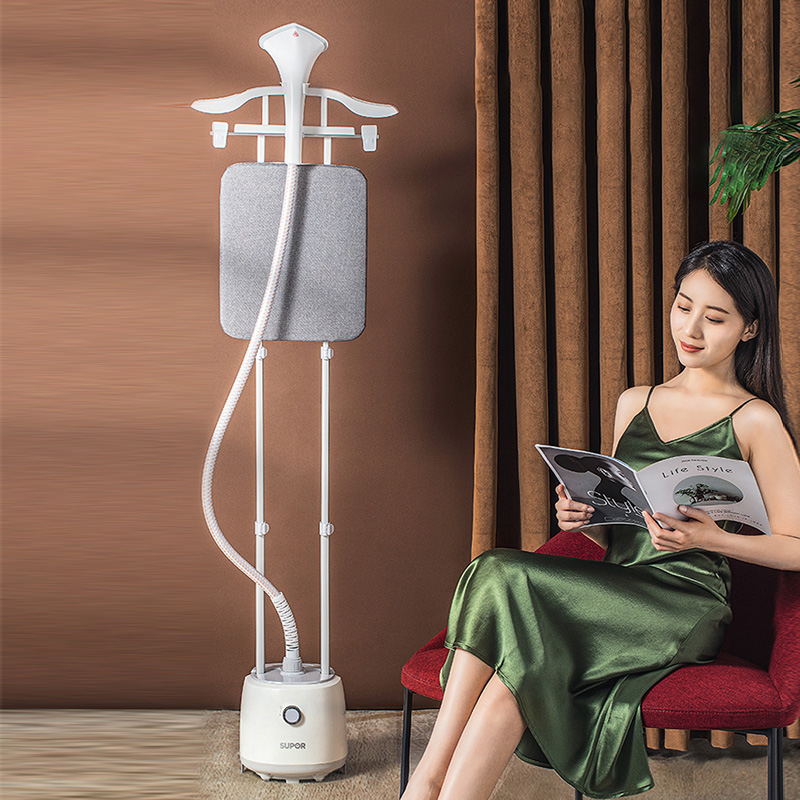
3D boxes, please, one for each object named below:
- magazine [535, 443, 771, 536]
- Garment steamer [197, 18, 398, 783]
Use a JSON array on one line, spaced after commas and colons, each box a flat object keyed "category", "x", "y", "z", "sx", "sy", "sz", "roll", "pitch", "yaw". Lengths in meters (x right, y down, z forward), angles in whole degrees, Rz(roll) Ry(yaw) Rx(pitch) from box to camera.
[{"category": "magazine", "x": 0.477, "y": 0.159, "z": 1.863, "sx": 0.375, "sy": 0.191, "sz": 0.067, "roll": -2, "pitch": 46, "yaw": 22}, {"category": "Garment steamer", "x": -0.255, "y": 0.004, "z": 2.502, "sx": 0.483, "sy": 1.751, "sz": 0.531, "roll": 0, "pitch": 9, "yaw": 2}]
